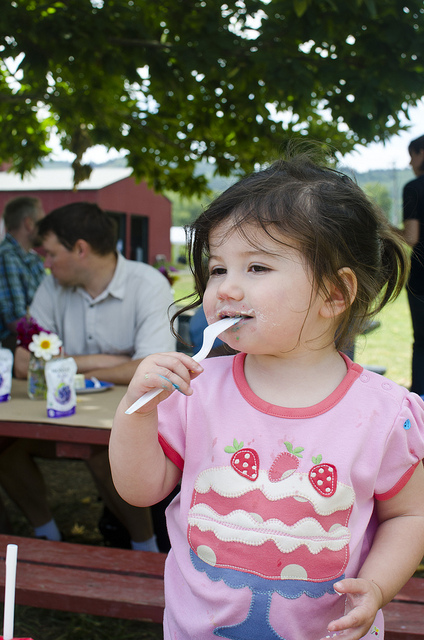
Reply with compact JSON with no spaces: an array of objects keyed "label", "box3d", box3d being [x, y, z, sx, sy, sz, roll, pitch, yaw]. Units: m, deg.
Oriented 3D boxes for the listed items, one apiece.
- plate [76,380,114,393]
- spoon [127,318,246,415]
[{"label":"plate","box3d":[-0.483,0.280,2.730,0.123,0.037,0.161,1,5,3]},{"label":"spoon","box3d":[-0.060,0.075,1.126,0.226,0.147,0.086,-3,7,-34]}]
